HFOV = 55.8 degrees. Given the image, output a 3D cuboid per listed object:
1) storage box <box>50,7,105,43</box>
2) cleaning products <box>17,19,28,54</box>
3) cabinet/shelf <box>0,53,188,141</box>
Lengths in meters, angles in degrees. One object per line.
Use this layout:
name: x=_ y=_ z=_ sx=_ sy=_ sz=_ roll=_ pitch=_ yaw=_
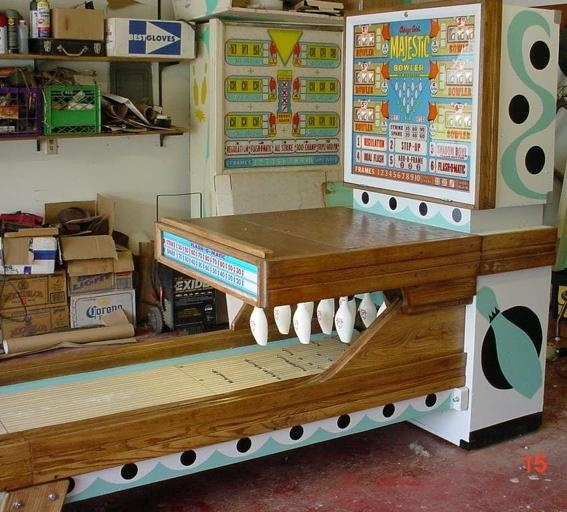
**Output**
storage box: x=-1.657 y=-1.870 z=4.314 sx=0.389 sy=0.191 sz=0.360 roll=-4 pitch=15 yaw=-23
cleaning products: x=-2.066 y=-1.727 z=4.210 sx=0.078 sy=0.273 sz=0.124 roll=-5 pitch=12 yaw=-25
cabinet/shelf: x=-1.686 y=-1.373 z=4.574 sx=1.140 sy=0.439 sz=0.556 roll=-4 pitch=3 yaw=-22
